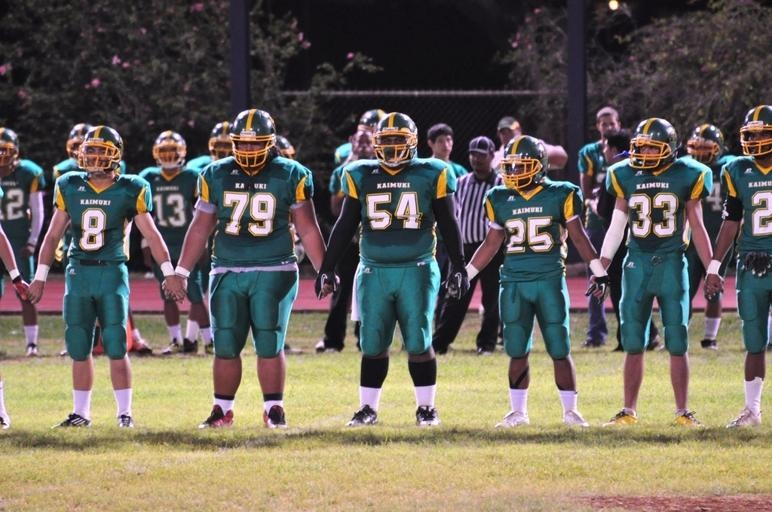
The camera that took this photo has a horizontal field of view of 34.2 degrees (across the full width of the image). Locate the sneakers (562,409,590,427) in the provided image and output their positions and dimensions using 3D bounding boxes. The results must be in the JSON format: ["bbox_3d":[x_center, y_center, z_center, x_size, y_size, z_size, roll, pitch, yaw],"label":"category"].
[{"bbox_3d":[1.721,1.462,11.366,0.236,0.158,0.270,-2,0,7],"label":"sneakers"}]

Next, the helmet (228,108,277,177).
[{"bbox_3d":[-1.239,-1.102,11.587,0.391,0.520,0.548,3,12,2],"label":"helmet"}]

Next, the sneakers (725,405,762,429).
[{"bbox_3d":[3.248,1.469,11.320,0.425,0.177,0.141,0,-4,-20],"label":"sneakers"}]

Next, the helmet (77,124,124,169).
[{"bbox_3d":[-2.709,-0.985,11.636,0.274,0.293,0.365,-4,-18,-21],"label":"helmet"}]

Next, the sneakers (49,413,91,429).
[{"bbox_3d":[-2.878,1.498,11.409,0.338,0.143,0.121,7,-9,-17],"label":"sneakers"}]

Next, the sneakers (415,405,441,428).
[{"bbox_3d":[0.374,1.447,11.400,0.214,0.181,0.248,-2,0,1],"label":"sneakers"}]

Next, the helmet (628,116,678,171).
[{"bbox_3d":[2.532,-1.081,11.757,0.417,0.442,0.561,7,14,35],"label":"helmet"}]

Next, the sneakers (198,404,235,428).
[{"bbox_3d":[-1.525,1.460,11.337,0.400,0.185,0.132,1,-1,-9],"label":"sneakers"}]

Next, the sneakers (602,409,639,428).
[{"bbox_3d":[2.134,1.458,11.407,0.296,0.147,0.428,-2,0,9],"label":"sneakers"}]

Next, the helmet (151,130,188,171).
[{"bbox_3d":[-2.626,-1.247,15.028,0.376,0.405,0.472,0,-11,-26],"label":"helmet"}]

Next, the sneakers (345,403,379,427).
[{"bbox_3d":[-0.211,1.457,11.429,0.308,0.138,0.130,-2,3,-20],"label":"sneakers"}]

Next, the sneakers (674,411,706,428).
[{"bbox_3d":[2.729,1.461,11.322,0.244,0.147,0.337,-2,0,9],"label":"sneakers"}]

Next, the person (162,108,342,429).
[{"bbox_3d":[-1.220,0.100,11.449,1.269,2.875,0.444,-2,0,-11],"label":"person"}]

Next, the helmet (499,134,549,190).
[{"bbox_3d":[1.180,-0.818,11.571,0.289,0.348,0.407,2,-16,3],"label":"helmet"}]

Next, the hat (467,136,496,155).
[{"bbox_3d":[1.112,-1.283,14.424,0.204,0.160,0.297,6,-5,26],"label":"hat"}]

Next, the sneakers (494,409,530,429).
[{"bbox_3d":[1.151,1.486,11.369,0.358,0.141,0.119,0,-5,-29],"label":"sneakers"}]

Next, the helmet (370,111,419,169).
[{"bbox_3d":[0.085,-1.080,11.565,0.410,0.484,0.533,0,2,6],"label":"helmet"}]

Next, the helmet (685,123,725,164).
[{"bbox_3d":[3.809,-1.351,14.790,0.504,0.411,0.356,-10,21,-25],"label":"helmet"}]

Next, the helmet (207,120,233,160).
[{"bbox_3d":[-1.944,-1.365,14.963,0.361,0.428,0.498,4,10,-10],"label":"helmet"}]
